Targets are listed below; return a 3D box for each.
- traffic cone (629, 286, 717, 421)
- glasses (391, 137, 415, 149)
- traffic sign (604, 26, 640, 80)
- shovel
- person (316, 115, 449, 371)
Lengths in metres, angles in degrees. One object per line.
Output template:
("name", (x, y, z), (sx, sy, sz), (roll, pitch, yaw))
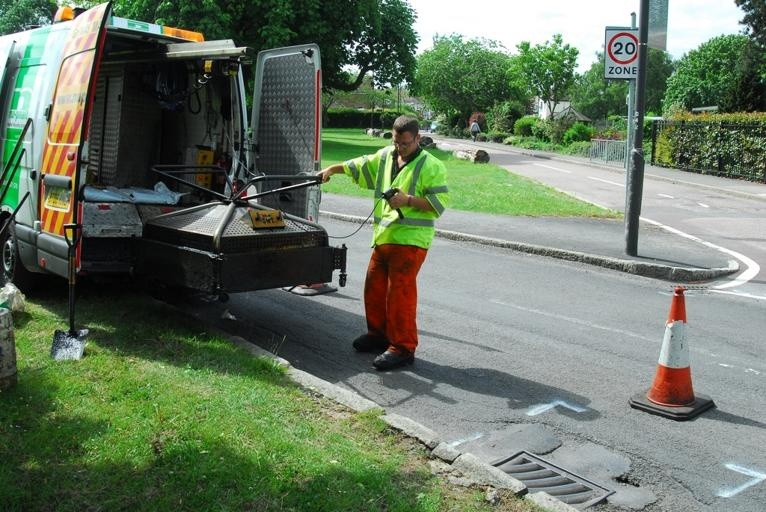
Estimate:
("traffic cone", (2.737, 0.902, 5.836), (0.631, 1.344, 0.657), (2, 2, 42))
("glasses", (0.232, -1.154, 6.204), (0.265, 0.113, 0.201), (4, 15, 1))
("traffic sign", (4.237, -3.608, 10.869), (0.599, 0.870, 0.376), (8, 15, 17))
("shovel", (-2.996, 0.223, 5.933), (0.367, 1.522, 0.396), (3, -4, 23))
("person", (0.064, -0.141, 6.517), (1.415, 2.622, 0.864), (9, 11, 41))
